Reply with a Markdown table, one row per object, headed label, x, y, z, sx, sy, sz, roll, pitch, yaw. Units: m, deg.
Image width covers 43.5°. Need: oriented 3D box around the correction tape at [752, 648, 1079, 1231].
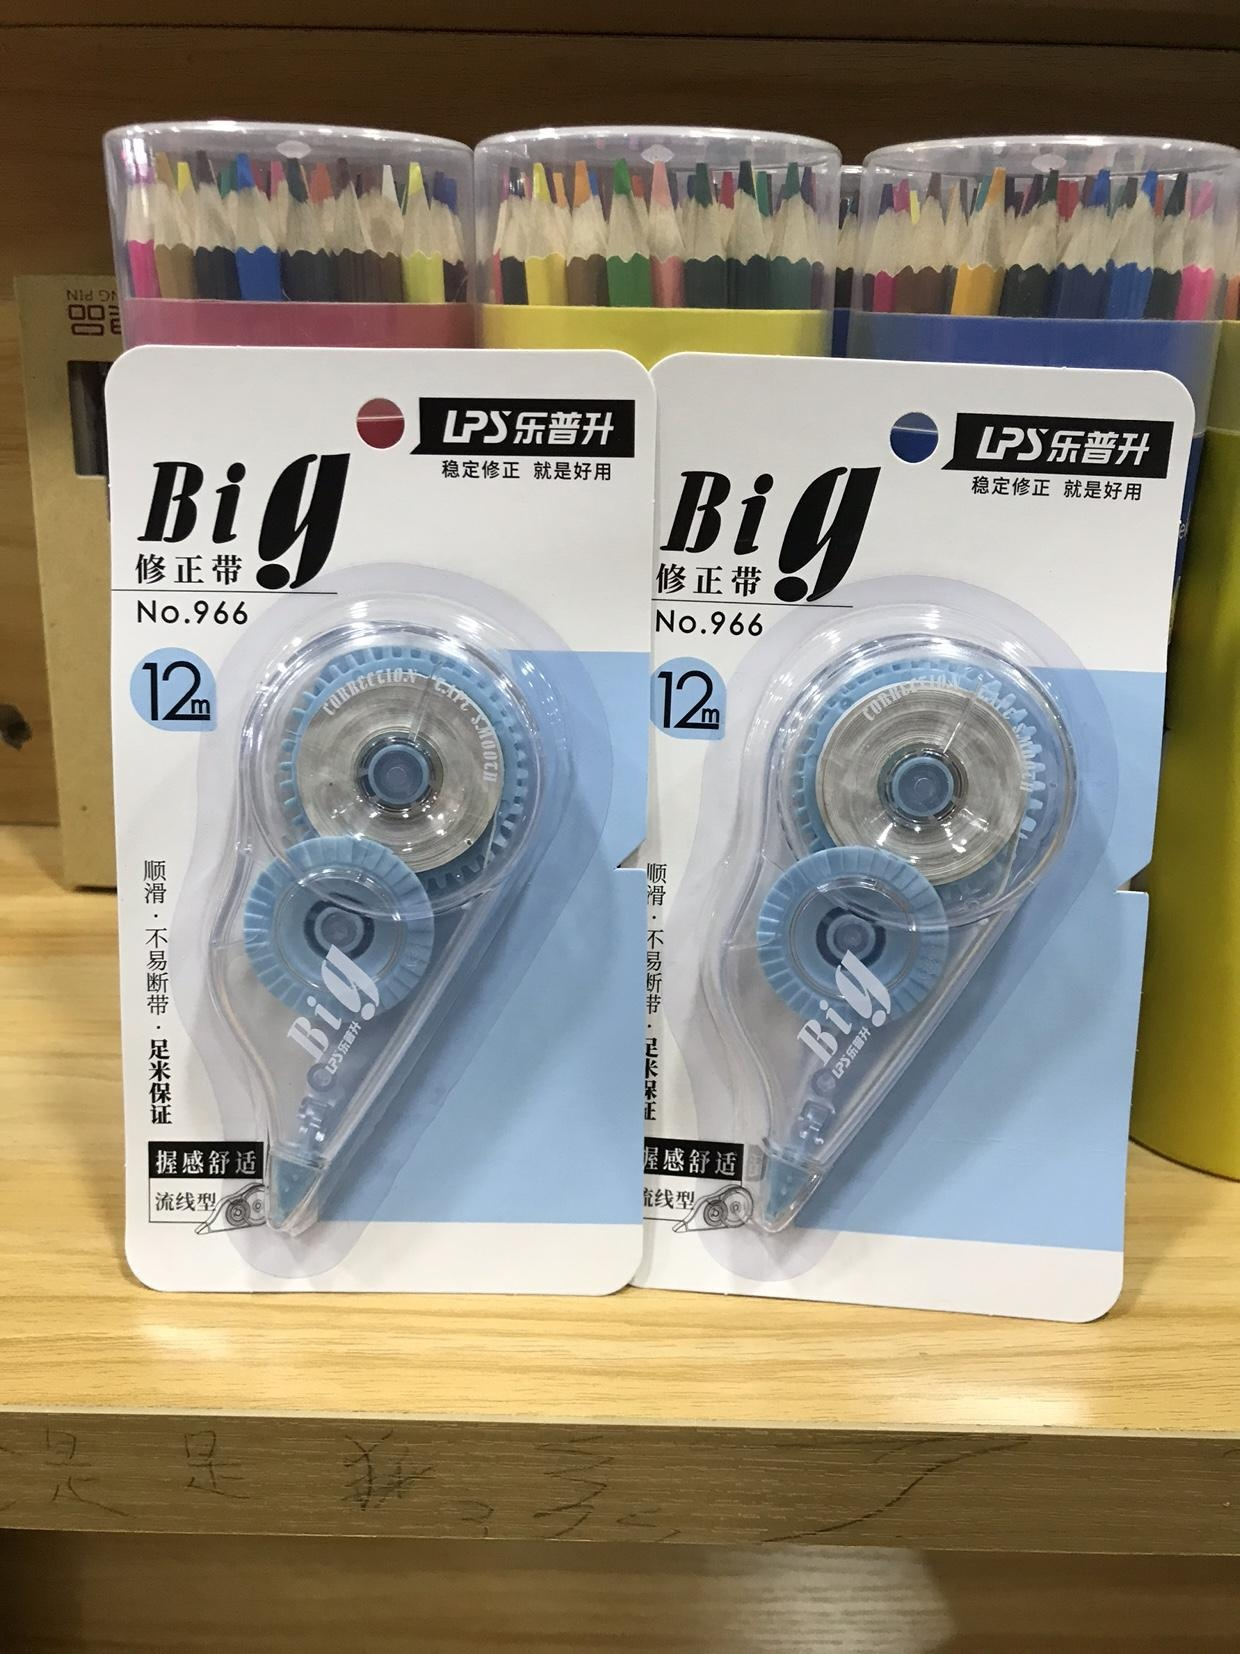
| label | x | y | z | sx | sy | sz | roll | pitch | yaw |
| --- | --- | --- | --- | --- | --- | --- | --- | --- | --- |
| correction tape | 0.092 | 0.036 | 0.631 | 0.119 | 0.047 | 0.219 | 32 | 96 | 4 |
